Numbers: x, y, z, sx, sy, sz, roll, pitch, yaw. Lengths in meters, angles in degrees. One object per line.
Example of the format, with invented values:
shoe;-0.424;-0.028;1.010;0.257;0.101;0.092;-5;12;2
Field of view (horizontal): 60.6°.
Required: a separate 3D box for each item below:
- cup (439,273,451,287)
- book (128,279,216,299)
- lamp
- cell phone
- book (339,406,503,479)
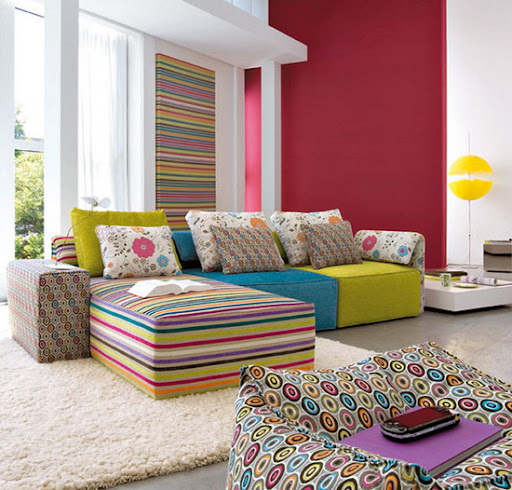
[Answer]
cup;1.989;0.368;4.554;0.093;0.116;0.190;2;3;26
book;-0.501;0.254;2.666;0.487;0.071;0.262;-1;3;-34
lamp;3.511;-0.600;7.166;0.690;1.892;0.812;2;3;27
cell phone;0.320;0.327;0.850;0.113;0.020;0.061;-7;9;-33
book;0.336;0.357;0.817;0.190;0.017;0.138;-3;4;-40
